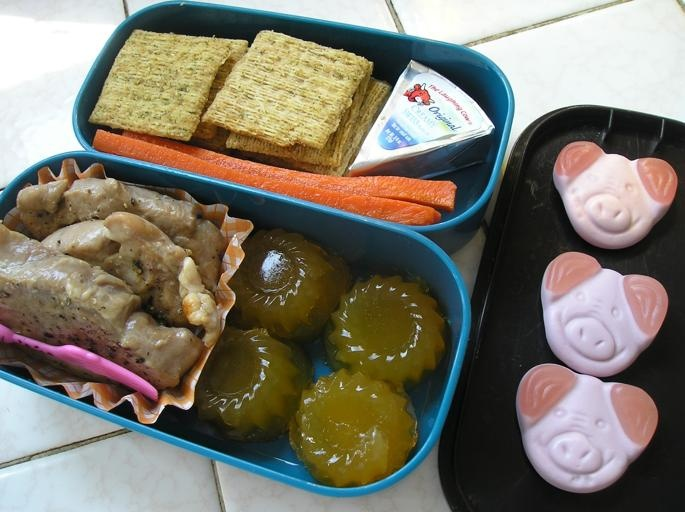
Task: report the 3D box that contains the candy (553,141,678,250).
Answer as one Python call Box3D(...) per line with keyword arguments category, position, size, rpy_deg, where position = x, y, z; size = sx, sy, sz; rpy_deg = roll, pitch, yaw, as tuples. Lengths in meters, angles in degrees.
Box3D(category="candy", position=(0.750, -0.165, 1.712), size=(0.325, 0.122, 0.261), rpy_deg=(15, 64, 8))

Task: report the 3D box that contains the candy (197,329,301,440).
Box3D(category="candy", position=(-0.233, 0.336, 1.584), size=(0.248, 0.112, 0.255), rpy_deg=(22, 65, 11))

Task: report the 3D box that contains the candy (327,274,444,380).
Box3D(category="candy", position=(0.123, 0.192, 1.605), size=(0.308, 0.114, 0.272), rpy_deg=(17, 64, 9))

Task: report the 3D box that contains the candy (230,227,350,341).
Box3D(category="candy", position=(-0.149, 0.081, 1.629), size=(0.239, 0.153, 0.198), rpy_deg=(24, 45, 26))
